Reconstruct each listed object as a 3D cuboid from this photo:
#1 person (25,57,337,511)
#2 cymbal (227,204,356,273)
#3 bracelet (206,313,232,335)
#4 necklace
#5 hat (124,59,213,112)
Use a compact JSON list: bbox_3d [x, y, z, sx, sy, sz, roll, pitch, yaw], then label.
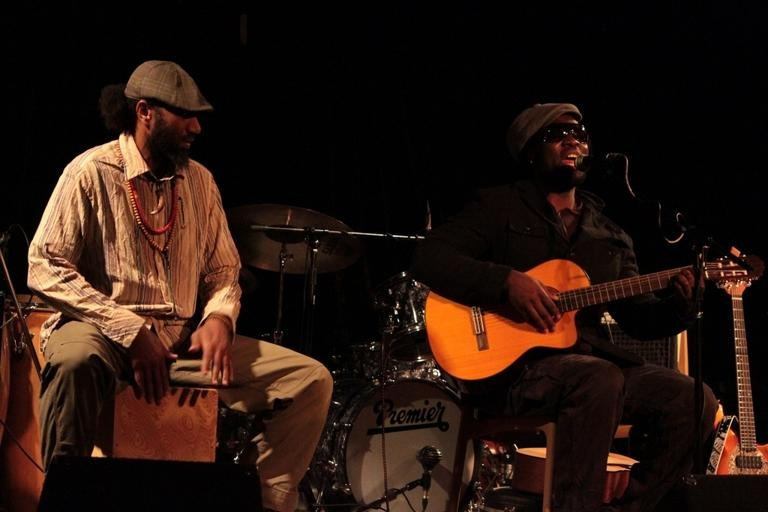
[{"bbox_3d":[-1.190,0.127,4.377,1.483,2.406,0.687,5,-2,-25],"label":"person"},{"bbox_3d":[-0.707,-0.125,5.814,0.629,0.147,0.641,-23,-44,36],"label":"cymbal"},{"bbox_3d":[-0.916,0.370,4.423,0.137,0.066,0.108,28,-17,14],"label":"bracelet"},{"bbox_3d":[-1.323,-0.264,4.421,0.247,0.748,0.032,-11,-8,-41],"label":"necklace"},{"bbox_3d":[-1.228,-0.958,4.442,0.424,0.205,0.295,5,12,-8],"label":"hat"}]
